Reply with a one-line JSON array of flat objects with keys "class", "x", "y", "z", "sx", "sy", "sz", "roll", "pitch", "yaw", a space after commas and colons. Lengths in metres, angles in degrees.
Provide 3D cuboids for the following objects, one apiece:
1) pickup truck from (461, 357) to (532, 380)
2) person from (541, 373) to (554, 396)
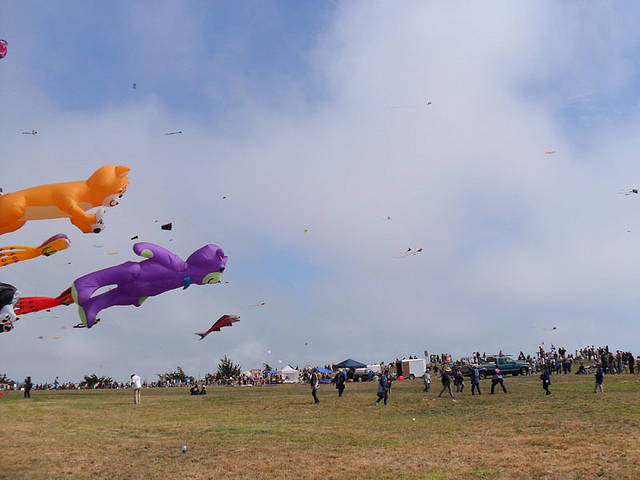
[{"class": "pickup truck", "x": 12.683, "y": 8.911, "z": 55.366, "sx": 3.760, "sy": 1.345, "sz": 0.909, "roll": -2, "pitch": -4, "yaw": -17}, {"class": "person", "x": 10.949, "y": 6.989, "z": 38.660, "sx": 0.473, "sy": 1.121, "sz": 1.524, "roll": -4, "pitch": -3, "yaw": 16}]
